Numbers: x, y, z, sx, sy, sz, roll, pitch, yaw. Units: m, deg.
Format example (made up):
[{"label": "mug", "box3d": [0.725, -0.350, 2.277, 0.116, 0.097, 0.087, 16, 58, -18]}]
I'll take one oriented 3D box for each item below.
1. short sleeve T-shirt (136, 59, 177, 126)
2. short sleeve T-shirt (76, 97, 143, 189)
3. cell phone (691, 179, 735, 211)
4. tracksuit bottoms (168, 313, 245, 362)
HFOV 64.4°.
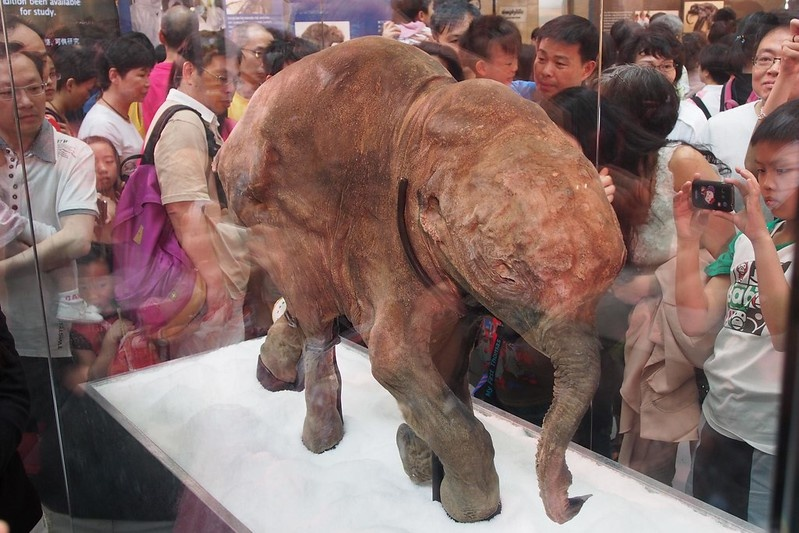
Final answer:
[{"label": "short sleeve T-shirt", "box3d": [-0.660, -0.466, 1.713, 0.054, 0.152, 0.111, 23, 20, 34]}, {"label": "short sleeve T-shirt", "box3d": [-0.774, -0.363, 1.823, 0.119, 0.218, 0.226, -4, 30, 8]}, {"label": "cell phone", "box3d": [0.630, -0.142, 1.281, 0.074, 0.045, 0.077, -1, 9, 8]}, {"label": "tracksuit bottoms", "box3d": [-0.576, 0.218, 1.944, 0.148, 0.082, 0.196, -13, -10, -46]}]
